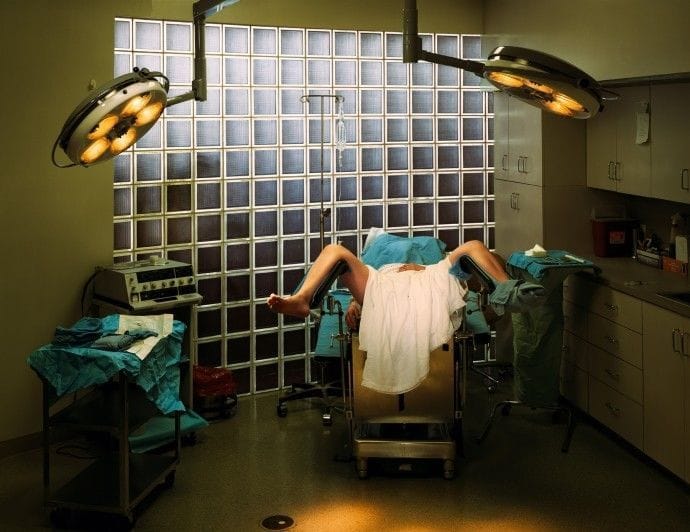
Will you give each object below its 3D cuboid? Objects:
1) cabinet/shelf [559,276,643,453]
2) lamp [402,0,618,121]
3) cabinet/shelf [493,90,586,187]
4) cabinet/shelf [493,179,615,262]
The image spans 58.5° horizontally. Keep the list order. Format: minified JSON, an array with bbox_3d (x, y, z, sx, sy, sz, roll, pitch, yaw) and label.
[{"bbox_3d":[1.822,0.694,4.343,0.469,1.027,1.046,0,7,-2],"label":"cabinet/shelf"},{"bbox_3d":[0.736,-0.762,2.602,0.853,0.477,0.631,7,2,-10],"label":"lamp"},{"bbox_3d":[1.460,-0.924,4.566,0.402,0.725,0.726,-3,10,-19],"label":"cabinet/shelf"},{"bbox_3d":[1.684,-0.538,5.305,0.522,0.737,1.022,0,3,-6],"label":"cabinet/shelf"}]
